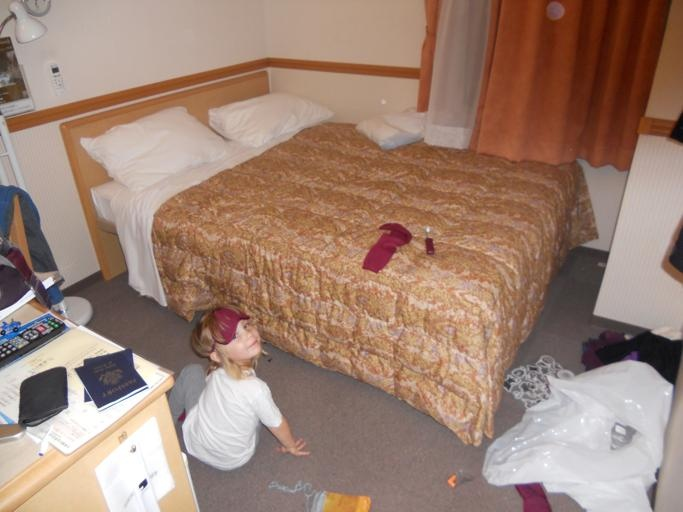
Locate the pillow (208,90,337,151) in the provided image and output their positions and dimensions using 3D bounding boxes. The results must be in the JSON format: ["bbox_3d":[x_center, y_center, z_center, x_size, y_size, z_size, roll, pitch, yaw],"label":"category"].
[{"bbox_3d":[-0.564,-1.123,3.974,0.675,0.173,0.543,-30,48,-34],"label":"pillow"}]

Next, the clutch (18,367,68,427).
[{"bbox_3d":[-1.002,0.470,1.651,0.144,0.059,0.177,-14,39,-20],"label":"clutch"}]
